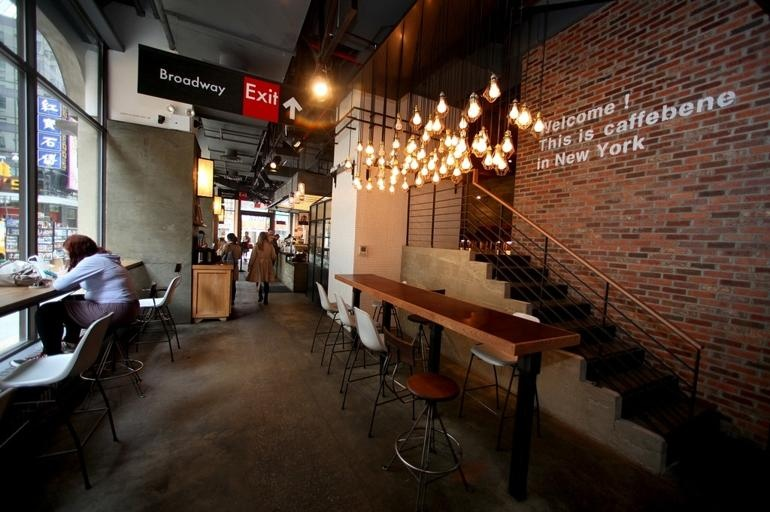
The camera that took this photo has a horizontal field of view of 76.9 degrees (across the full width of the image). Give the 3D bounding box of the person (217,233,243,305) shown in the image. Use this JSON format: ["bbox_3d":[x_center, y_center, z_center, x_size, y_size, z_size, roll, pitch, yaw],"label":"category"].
[{"bbox_3d":[-3.134,0.298,9.835,0.346,1.518,1.306,-1,11,-18],"label":"person"}]

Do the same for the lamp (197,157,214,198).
[{"bbox_3d":[-3.523,-1.522,9.387,0.169,0.695,0.400,7,12,22],"label":"lamp"}]

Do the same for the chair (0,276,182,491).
[{"bbox_3d":[-4.030,1.405,5.905,1.817,2.578,1.472,4,6,-6],"label":"chair"}]
